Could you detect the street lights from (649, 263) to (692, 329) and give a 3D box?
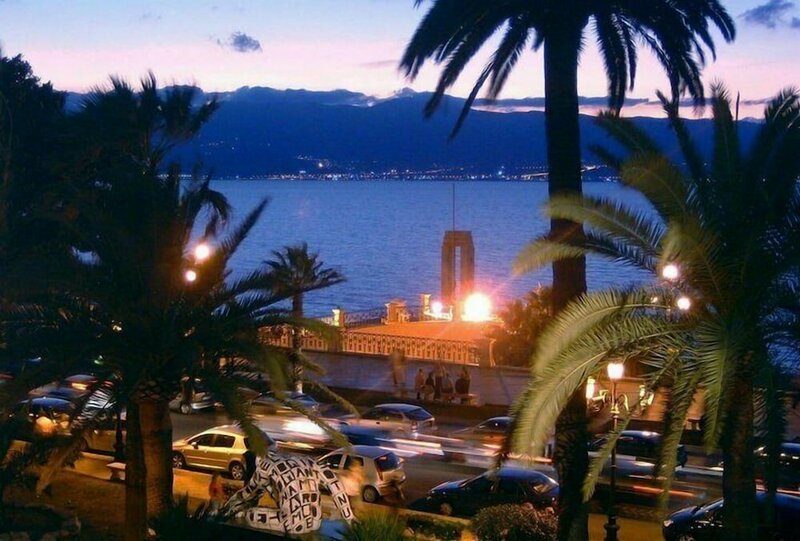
[{"bbox_3d":[5.112,0.460,14.421,0.721,1.134,0.730,15,27,13],"label":"street lights"}]
